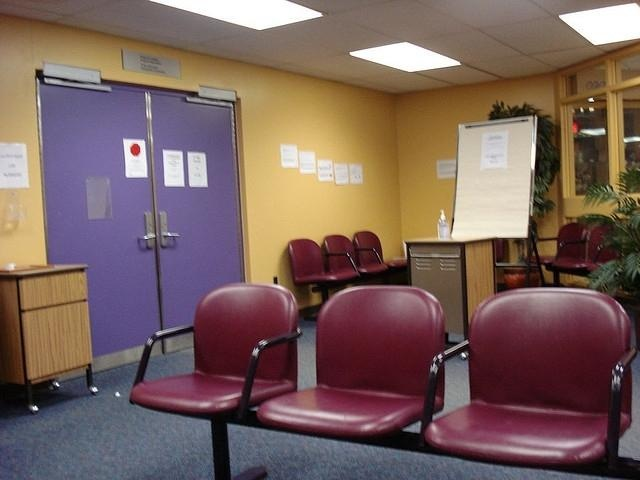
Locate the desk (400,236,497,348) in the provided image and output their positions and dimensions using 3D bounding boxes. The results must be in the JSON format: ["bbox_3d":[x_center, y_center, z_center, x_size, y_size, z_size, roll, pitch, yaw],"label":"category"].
[{"bbox_3d":[1.249,0.495,4.929,0.920,1.447,0.952,-2,-1,38],"label":"desk"}]

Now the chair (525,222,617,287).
[{"bbox_3d":[3.016,0.174,5.547,0.476,0.751,0.862,0,0,-18],"label":"chair"}]
